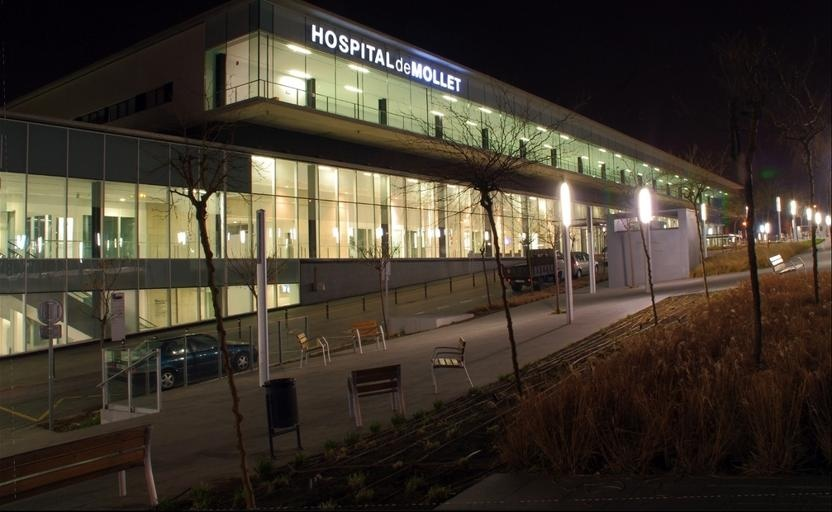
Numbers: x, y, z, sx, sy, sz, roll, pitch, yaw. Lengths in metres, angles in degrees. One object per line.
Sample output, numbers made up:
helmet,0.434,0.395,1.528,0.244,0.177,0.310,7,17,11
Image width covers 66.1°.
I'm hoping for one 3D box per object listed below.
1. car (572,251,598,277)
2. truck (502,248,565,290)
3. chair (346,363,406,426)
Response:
car,10.159,0.451,38.812,1.091,0.943,2.064,1,6,38
truck,6.710,0.827,36.435,2.204,1.804,3.767,1,7,38
chair,-1.086,3.378,16.867,1.840,1.769,1.420,-2,-1,-23
